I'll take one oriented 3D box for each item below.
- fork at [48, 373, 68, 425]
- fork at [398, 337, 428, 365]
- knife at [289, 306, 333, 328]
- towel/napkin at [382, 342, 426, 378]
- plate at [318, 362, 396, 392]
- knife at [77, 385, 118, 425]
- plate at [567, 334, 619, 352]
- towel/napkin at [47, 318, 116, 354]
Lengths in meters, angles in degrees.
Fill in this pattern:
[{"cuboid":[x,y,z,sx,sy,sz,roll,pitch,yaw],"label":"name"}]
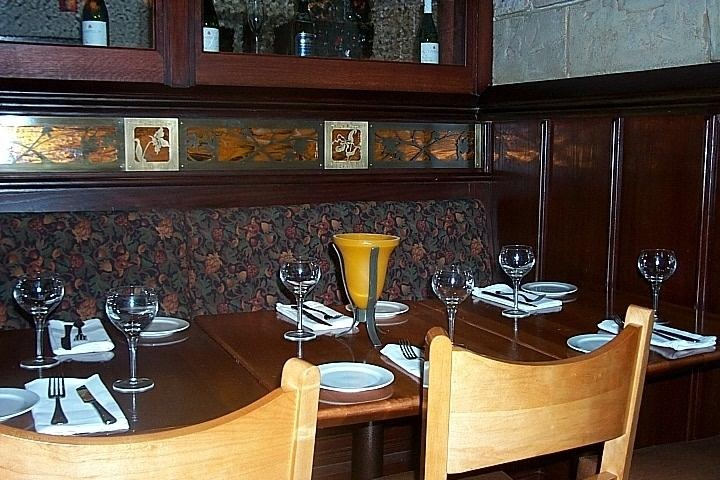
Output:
[{"cuboid":[-0.639,0.339,1.052,0.034,0.022,0.206,6,9,-35],"label":"fork"},{"cuboid":[0.131,0.290,1.312,0.031,0.022,0.170,-4,15,-17],"label":"fork"},{"cuboid":[-0.151,0.237,1.619,0.056,0.009,0.202,-6,6,-26],"label":"knife"},{"cuboid":[0.120,0.289,1.270,0.080,0.018,0.130,1,8,-17],"label":"towel/napkin"},{"cuboid":[-0.028,0.310,1.158,0.222,0.027,0.213,10,-6,-26],"label":"plate"},{"cuboid":[-0.559,0.343,1.043,0.167,0.007,0.027,22,21,37],"label":"knife"},{"cuboid":[0.644,0.283,1.393,0.142,0.013,0.136,-2,13,27],"label":"plate"},{"cuboid":[-0.834,0.276,1.463,0.147,0.035,0.247,7,4,-39],"label":"towel/napkin"}]
